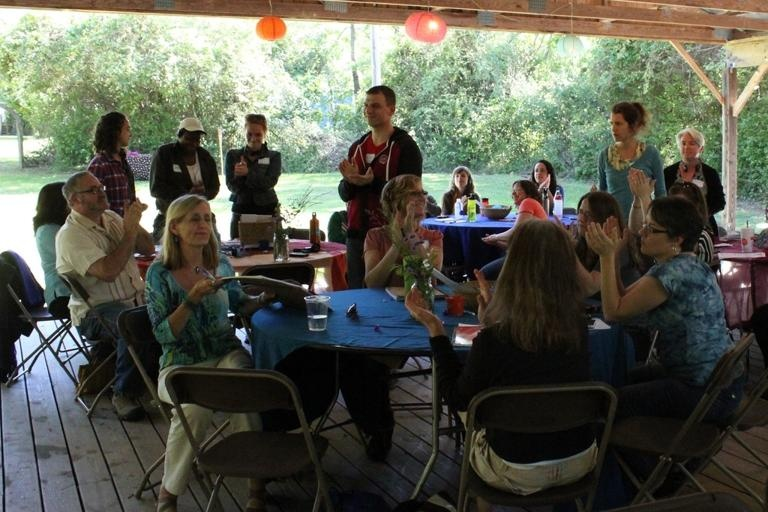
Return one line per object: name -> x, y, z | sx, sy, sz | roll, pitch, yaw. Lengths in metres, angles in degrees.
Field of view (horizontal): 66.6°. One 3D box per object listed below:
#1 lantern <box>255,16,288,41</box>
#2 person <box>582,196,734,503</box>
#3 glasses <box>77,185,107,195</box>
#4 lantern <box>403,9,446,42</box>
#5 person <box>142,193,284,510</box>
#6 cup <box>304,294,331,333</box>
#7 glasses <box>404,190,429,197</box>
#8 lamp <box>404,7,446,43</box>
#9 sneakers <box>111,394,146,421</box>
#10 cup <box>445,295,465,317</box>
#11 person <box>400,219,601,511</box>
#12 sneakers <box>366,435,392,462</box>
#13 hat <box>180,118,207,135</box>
lantern -> -1.251, -2.516, 6.404 | 0.304, 0.271, 0.360 | -6, 12, -10
person -> 1.447, 0.474, 3.038 | 0.701, 1.510, 0.978 | 5, 16, 37
glasses -> -2.108, -0.470, 4.203 | 0.101, 0.030, 0.098 | -7, 4, 13
lantern -> 0.441, -2.439, 6.348 | 0.391, 0.378, 0.380 | -2, 11, -8
person -> -0.974, 0.525, 3.209 | 0.719, 1.675, 0.898 | -6, 13, -6
cup -> -0.335, 0.313, 3.115 | 0.170, 0.177, 0.160 | 0, -3, 0
glasses -> 0.213, -0.406, 3.759 | 0.144, 0.042, 0.052 | -15, 16, -41
lamp -> 0.412, -2.451, 6.316 | 0.389, 0.266, 0.395 | 15, 4, 31
sneakers -> -1.824, 1.066, 4.166 | 0.288, 0.137, 0.116 | 6, 11, 40
cup -> 0.400, 0.279, 3.301 | 0.108, 0.107, 0.118 | 0, 5, 0
person -> 0.552, 0.585, 2.565 | 0.728, 1.459, 0.422 | 0, 13, 18
sneakers -> -0.034, 1.178, 3.637 | 0.162, 0.166, 0.127 | -5, 12, -5
hat -> -1.958, -1.332, 5.878 | 0.199, 0.136, 0.263 | 0, 5, -42
